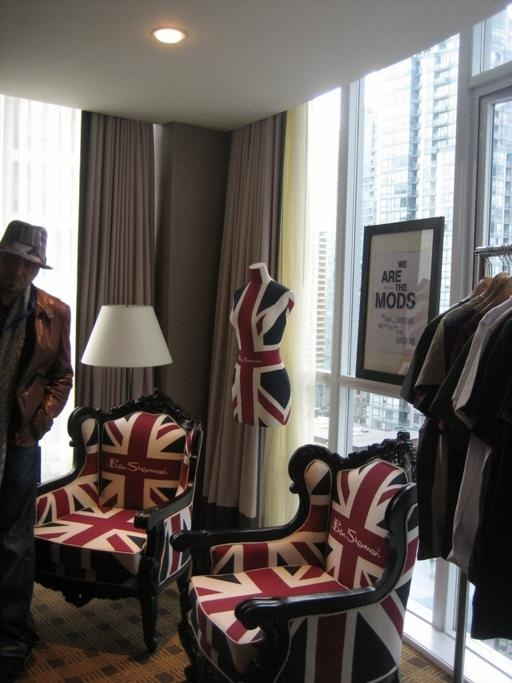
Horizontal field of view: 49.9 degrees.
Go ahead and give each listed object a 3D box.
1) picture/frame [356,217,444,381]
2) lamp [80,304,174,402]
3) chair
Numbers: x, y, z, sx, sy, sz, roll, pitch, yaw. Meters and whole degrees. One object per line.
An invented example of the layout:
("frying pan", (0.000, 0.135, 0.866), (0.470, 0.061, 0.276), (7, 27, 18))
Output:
("picture/frame", (0.619, -0.166, 2.419), (0.092, 0.720, 0.527), (0, 0, -21))
("lamp", (-0.572, 0.035, 2.547), (0.309, 0.577, 0.323), (0, 5, -3))
("chair", (-0.267, 0.755, 2.120), (1.530, 0.966, 0.726), (0, 0, 43))
